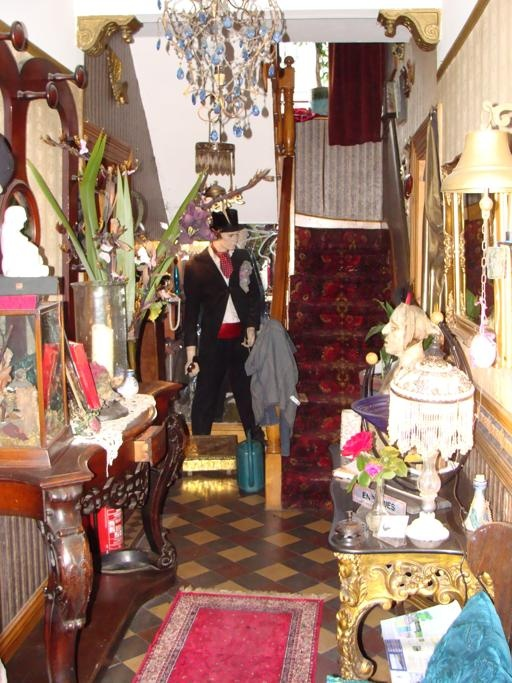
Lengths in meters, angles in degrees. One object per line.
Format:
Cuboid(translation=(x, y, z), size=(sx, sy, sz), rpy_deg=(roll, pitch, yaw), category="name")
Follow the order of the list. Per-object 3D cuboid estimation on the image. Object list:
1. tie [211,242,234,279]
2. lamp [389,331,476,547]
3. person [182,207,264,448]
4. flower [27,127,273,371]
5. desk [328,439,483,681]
Cuboid(translation=(-0.280, -0.698, 4.744), size=(0.158, 0.301, 0.076), rpy_deg=(-17, 6, -9), category="tie")
Cuboid(translation=(0.519, 0.288, 1.618), size=(0.228, 0.576, 0.260), rpy_deg=(2, 4, 43), category="lamp")
Cuboid(translation=(-0.300, -0.043, 4.898), size=(0.740, 2.201, 0.569), rpy_deg=(-16, 29, -28), category="person")
Cuboid(translation=(-0.496, -0.333, 2.591), size=(1.051, 1.246, 1.042), rpy_deg=(7, 20, 0), category="flower")
Cuboid(translation=(0.447, 0.660, 1.803), size=(0.557, 0.669, 0.534), rpy_deg=(1, 2, 25), category="desk")
